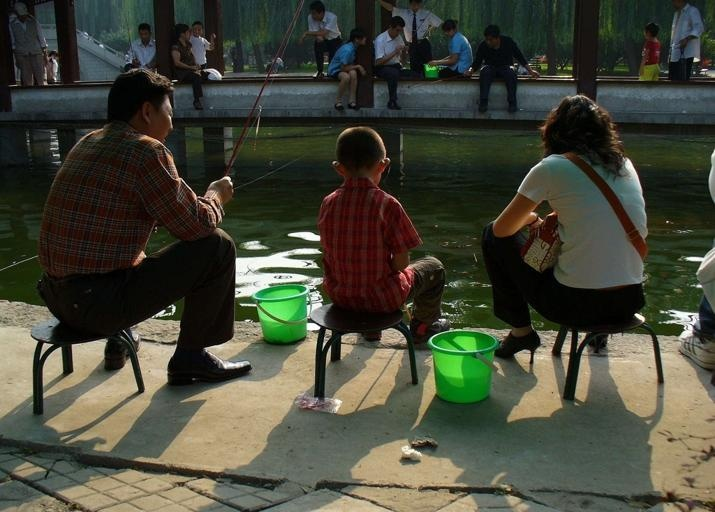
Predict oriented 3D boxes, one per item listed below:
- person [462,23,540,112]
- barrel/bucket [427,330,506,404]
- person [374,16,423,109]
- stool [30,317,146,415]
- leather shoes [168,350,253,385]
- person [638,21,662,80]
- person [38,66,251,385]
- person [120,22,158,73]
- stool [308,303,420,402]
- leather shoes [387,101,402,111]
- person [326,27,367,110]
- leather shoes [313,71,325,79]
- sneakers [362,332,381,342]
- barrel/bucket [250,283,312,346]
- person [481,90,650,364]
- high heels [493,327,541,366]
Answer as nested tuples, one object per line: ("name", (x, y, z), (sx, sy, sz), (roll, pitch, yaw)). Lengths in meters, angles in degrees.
("person", (2.105, -2.871, 10.380), (1.007, 1.212, 0.991), (-18, 20, -27))
("barrel/bucket", (0.597, 0.615, 3.820), (0.385, 0.278, 0.399), (-3, 8, 0))
("person", (0.480, -2.956, 10.523), (0.475, 1.386, 0.712), (0, 14, 1))
("stool", (-1.481, 0.553, 3.858), (0.640, 0.420, 0.495), (-7, 18, -2))
("leather shoes", (-0.847, 0.620, 4.043), (0.521, 0.190, 0.173), (-3, 8, -22))
("person", (4.944, -3.441, 11.456), (0.302, 1.007, 2.104), (5, 14, 22))
("person", (-1.208, -0.126, 3.778), (1.090, 1.763, 0.420), (-6, 15, -23))
("person", (-4.085, -3.819, 12.816), (0.755, 0.919, 0.668), (-7, 21, -25))
("stool", (0.016, 0.499, 3.878), (0.605, 0.377, 0.555), (0, 9, -3))
("leather shoes", (0.548, -2.257, 10.329), (0.205, 0.118, 0.111), (-3, 24, -3))
("person", (-0.214, -2.831, 10.451), (0.622, 1.195, 0.328), (6, 15, 25))
("leather shoes", (-0.667, -2.959, 11.233), (0.138, 0.147, 0.374), (2, 15, 5))
("sneakers", (0.081, 0.515, 4.507), (0.091, 0.091, 0.147), (-1, -6, 3))
("barrel/bucket", (-0.516, 0.356, 4.541), (0.416, 0.287, 0.410), (-1, 20, 0))
("person", (1.411, -0.123, 4.122), (1.236, 1.547, 1.018), (-1, 4, -25))
("high heels", (0.974, 0.530, 4.219), (0.138, 0.194, 0.398), (4, 0, -30))
